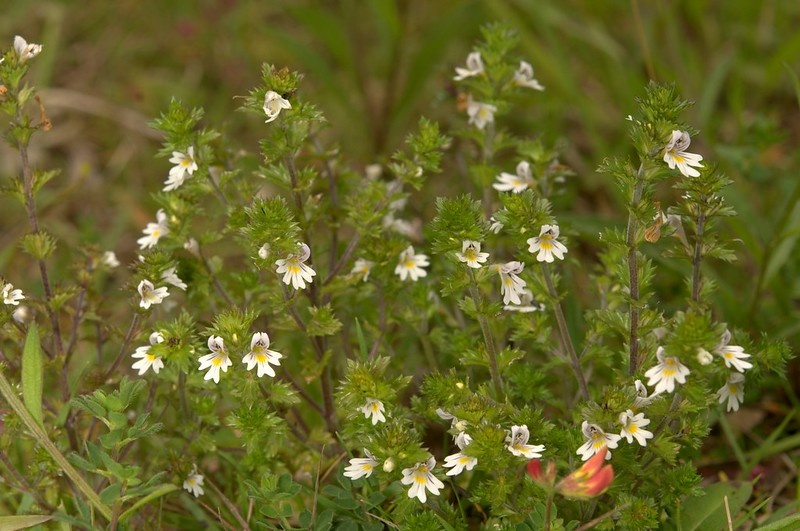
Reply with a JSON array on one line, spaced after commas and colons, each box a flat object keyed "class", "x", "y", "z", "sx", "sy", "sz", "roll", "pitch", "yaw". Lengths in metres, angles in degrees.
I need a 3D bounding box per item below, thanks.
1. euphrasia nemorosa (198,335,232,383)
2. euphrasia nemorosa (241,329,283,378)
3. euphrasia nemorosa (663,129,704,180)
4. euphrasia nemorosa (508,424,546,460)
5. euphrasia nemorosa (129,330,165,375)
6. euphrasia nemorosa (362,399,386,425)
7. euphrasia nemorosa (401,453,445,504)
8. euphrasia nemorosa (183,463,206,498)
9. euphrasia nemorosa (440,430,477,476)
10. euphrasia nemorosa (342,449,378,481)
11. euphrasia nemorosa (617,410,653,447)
[{"class": "euphrasia nemorosa", "x": -0.825, "y": 0.397, "z": 4.014, "sx": 0.127, "sy": 0.250, "sz": 0.069, "roll": 0, "pitch": 2, "yaw": 17}, {"class": "euphrasia nemorosa", "x": -0.624, "y": 0.376, "z": 3.947, "sx": 0.193, "sy": 0.112, "sz": 0.243, "roll": 0, "pitch": 19, "yaw": -28}, {"class": "euphrasia nemorosa", "x": 1.211, "y": -0.486, "z": 3.838, "sx": 0.169, "sy": 0.203, "sz": 0.064, "roll": 28, "pitch": -12, "yaw": -32}, {"class": "euphrasia nemorosa", "x": 0.554, "y": 0.791, "z": 3.909, "sx": 0.130, "sy": 0.169, "sz": 0.060, "roll": 23, "pitch": -22, "yaw": -21}, {"class": "euphrasia nemorosa", "x": -1.145, "y": 0.437, "z": 4.055, "sx": 0.148, "sy": 0.227, "sz": 0.069, "roll": 28, "pitch": 26, "yaw": 7}, {"class": "euphrasia nemorosa", "x": -0.129, "y": 0.654, "z": 3.980, "sx": 0.115, "sy": 0.129, "sz": 0.057, "roll": -5, "pitch": 14, "yaw": 27}, {"class": "euphrasia nemorosa", "x": 0.092, "y": 0.963, "z": 3.894, "sx": 0.162, "sy": 0.224, "sz": 0.078, "roll": -6, "pitch": 5, "yaw": 1}, {"class": "euphrasia nemorosa", "x": -0.996, "y": 1.024, "z": 4.203, "sx": 0.098, "sy": 0.143, "sz": 0.088, "roll": -8, "pitch": 14, "yaw": 14}, {"class": "euphrasia nemorosa", "x": 0.245, "y": 0.843, "z": 3.920, "sx": 0.141, "sy": 0.187, "sz": 0.149, "roll": -22, "pitch": 17, "yaw": -36}, {"class": "euphrasia nemorosa", "x": -0.183, "y": 0.918, "z": 4.049, "sx": 0.055, "sy": 0.156, "sz": 0.138, "roll": -7, "pitch": -17, "yaw": -47}, {"class": "euphrasia nemorosa", "x": 1.054, "y": 0.730, "z": 3.978, "sx": 0.139, "sy": 0.240, "sz": 0.199, "roll": -7, "pitch": 15, "yaw": 15}]
